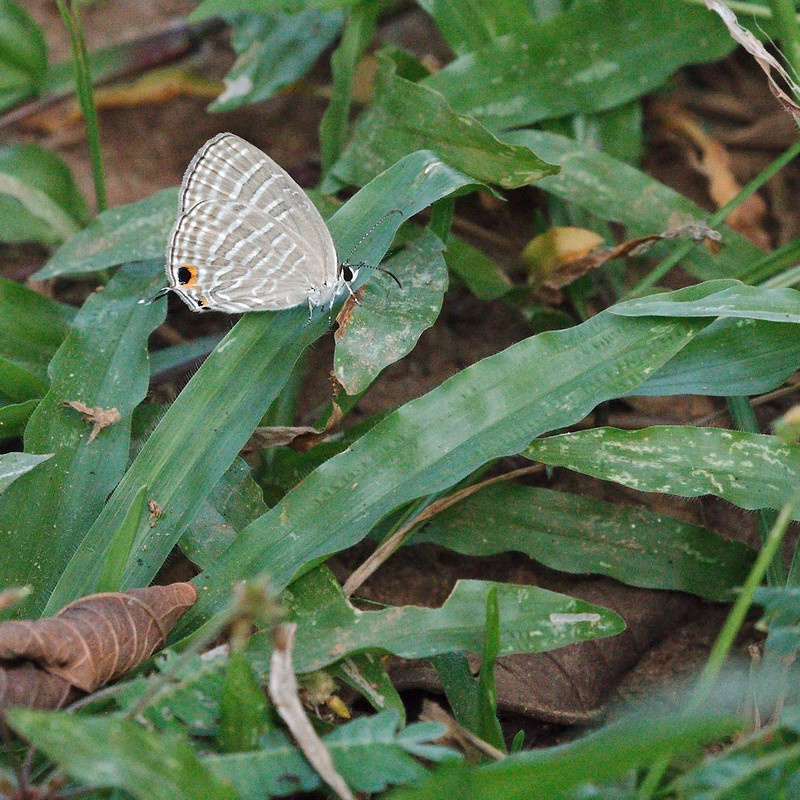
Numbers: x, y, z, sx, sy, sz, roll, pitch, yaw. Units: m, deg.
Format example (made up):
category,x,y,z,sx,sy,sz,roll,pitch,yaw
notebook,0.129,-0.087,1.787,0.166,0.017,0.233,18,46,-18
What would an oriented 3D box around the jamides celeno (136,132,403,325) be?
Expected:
category,x,y,z,sx,sy,sz,roll,pitch,yaw
jamides celeno,-0.184,-0.230,1.514,0.368,0.247,0.231,0,74,5
